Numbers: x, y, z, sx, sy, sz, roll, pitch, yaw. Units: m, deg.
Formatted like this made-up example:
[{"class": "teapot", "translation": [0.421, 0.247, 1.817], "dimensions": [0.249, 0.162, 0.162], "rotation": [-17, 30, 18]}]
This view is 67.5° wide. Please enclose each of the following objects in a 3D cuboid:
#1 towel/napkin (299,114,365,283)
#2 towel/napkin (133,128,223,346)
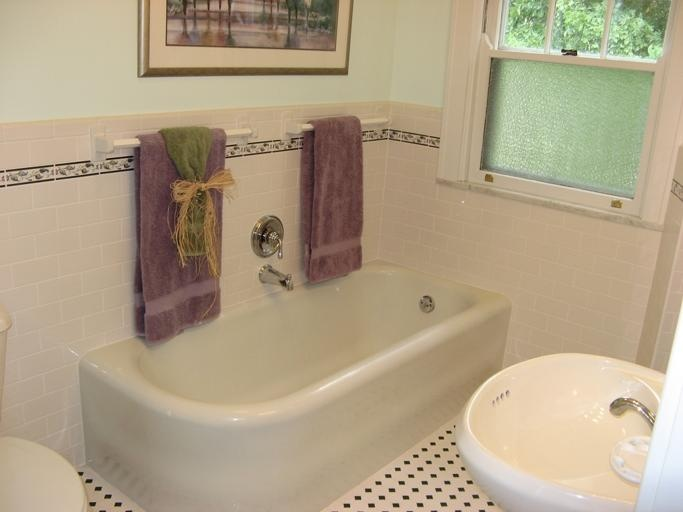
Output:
[{"class": "towel/napkin", "translation": [-0.052, -0.337, 3.096], "dimensions": [0.444, 0.954, 0.130], "rotation": [-17, 28, -39]}, {"class": "towel/napkin", "translation": [-0.791, -0.098, 2.511], "dimensions": [0.136, 0.985, 0.516], "rotation": [19, 28, 38]}]
